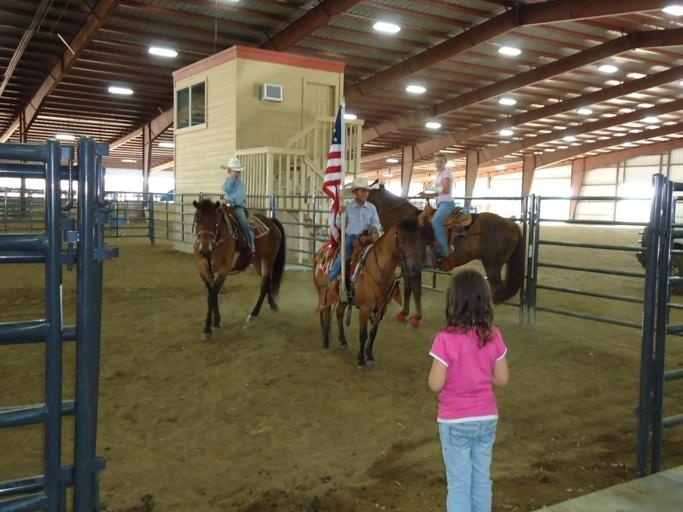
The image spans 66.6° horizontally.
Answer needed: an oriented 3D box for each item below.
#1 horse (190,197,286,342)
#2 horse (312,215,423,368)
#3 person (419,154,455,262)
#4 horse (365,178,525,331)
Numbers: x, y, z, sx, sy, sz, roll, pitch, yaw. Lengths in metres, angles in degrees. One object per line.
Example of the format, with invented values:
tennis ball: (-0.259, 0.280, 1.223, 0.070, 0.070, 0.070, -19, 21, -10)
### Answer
horse: (-1.471, 0.077, 7.506, 0.880, 1.774, 2.172, 2, 9, 10)
horse: (0.223, 0.415, 6.206, 0.729, 1.605, 2.459, 0, 1, -25)
person: (1.403, -0.606, 7.539, 0.505, 1.665, 0.669, 2, 9, 8)
horse: (1.383, 0.045, 7.793, 3.051, 1.923, 0.678, 0, 7, -14)
